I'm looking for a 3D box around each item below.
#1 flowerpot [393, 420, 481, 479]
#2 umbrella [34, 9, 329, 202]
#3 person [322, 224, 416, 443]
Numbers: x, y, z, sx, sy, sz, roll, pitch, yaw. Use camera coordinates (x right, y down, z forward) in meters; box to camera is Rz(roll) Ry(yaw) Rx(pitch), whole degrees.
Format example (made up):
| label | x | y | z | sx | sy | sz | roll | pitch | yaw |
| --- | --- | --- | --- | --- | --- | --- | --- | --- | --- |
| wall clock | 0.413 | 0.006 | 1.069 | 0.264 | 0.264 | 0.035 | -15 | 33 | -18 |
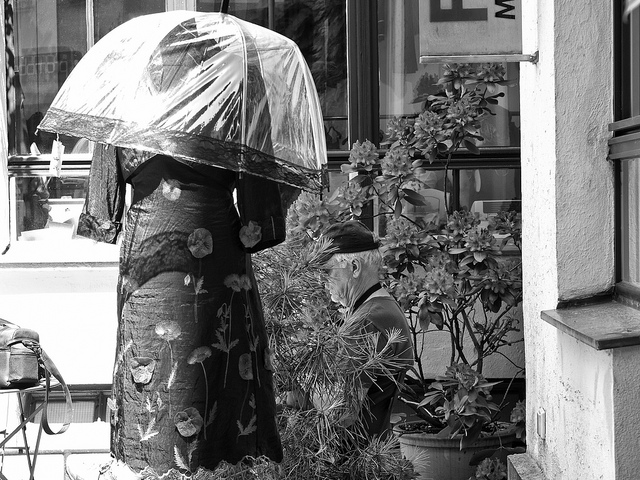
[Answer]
| label | x | y | z | sx | sy | sz | roll | pitch | yaw |
| --- | --- | --- | --- | --- | --- | --- | --- | --- | --- |
| flowerpot | 0.625 | 1.141 | 6.075 | 0.363 | 0.290 | 0.368 | 1 | -1 | -27 |
| umbrella | -0.466 | -0.578 | 4.621 | 0.885 | 0.484 | 0.900 | 12 | 15 | -23 |
| person | 0.221 | 0.425 | 5.208 | 0.414 | 0.940 | 0.330 | -1 | 0 | 1 |
